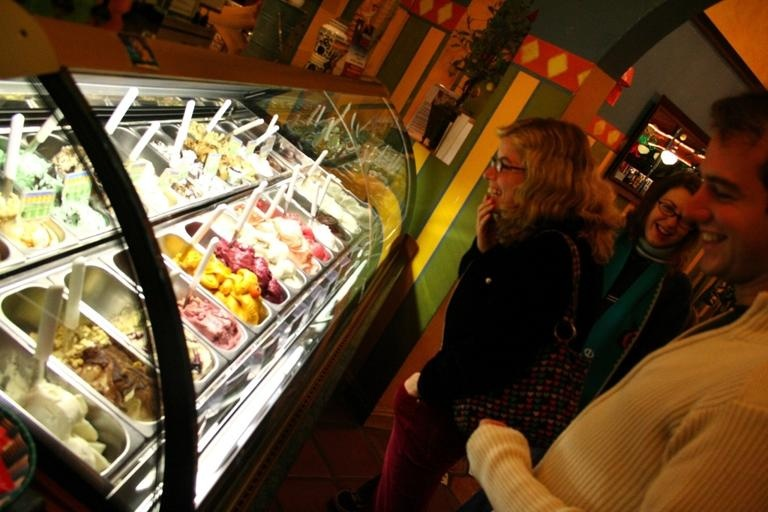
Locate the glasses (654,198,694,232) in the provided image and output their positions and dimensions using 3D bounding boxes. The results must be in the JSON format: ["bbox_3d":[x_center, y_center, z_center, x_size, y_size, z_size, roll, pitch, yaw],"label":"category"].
[{"bbox_3d":[1.228,-0.173,2.157,0.144,0.047,0.147,37,13,5],"label":"glasses"}]

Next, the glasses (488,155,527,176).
[{"bbox_3d":[0.529,-0.362,2.104,0.094,0.028,0.092,-1,29,-24],"label":"glasses"}]
